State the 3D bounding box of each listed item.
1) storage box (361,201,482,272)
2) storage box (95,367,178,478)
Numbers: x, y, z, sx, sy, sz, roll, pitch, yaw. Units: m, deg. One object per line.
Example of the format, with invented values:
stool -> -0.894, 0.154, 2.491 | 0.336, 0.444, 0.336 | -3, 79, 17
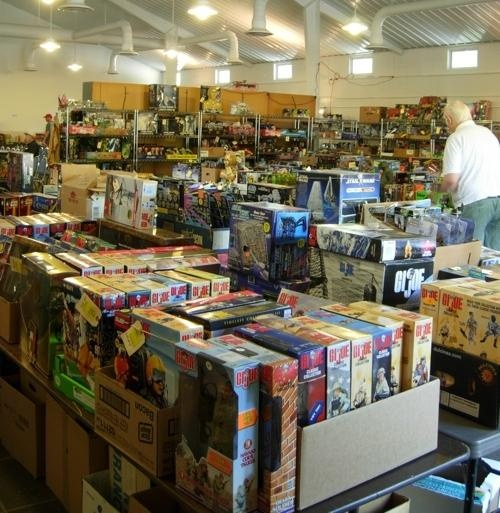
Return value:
storage box -> 0.913, -0.194, 2.422 | 0.433, 0.302, 0.426 | -1, 11, -38
storage box -> -0.309, 0.462, 1.310 | 0.168, 0.162, 0.301 | -3, 18, -42
